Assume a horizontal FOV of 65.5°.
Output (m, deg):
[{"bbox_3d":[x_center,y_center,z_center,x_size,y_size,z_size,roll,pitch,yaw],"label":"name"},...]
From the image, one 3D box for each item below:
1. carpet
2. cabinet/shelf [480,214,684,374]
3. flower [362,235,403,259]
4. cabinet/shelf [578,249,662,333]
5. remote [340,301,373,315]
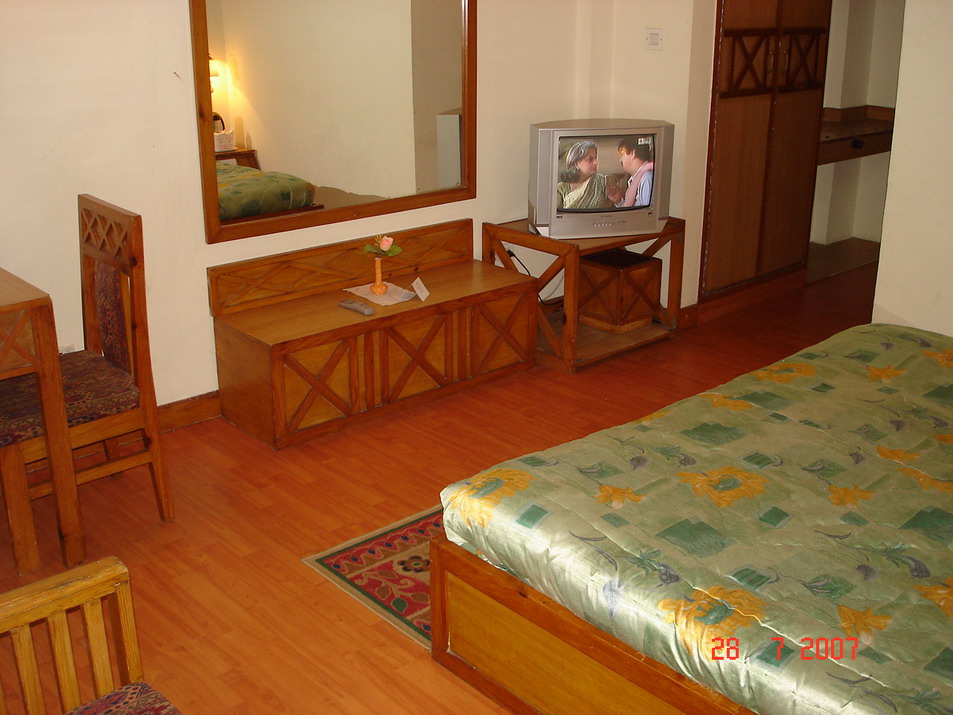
[{"bbox_3d":[-0.350,0.876,3.052,0.443,0.006,0.482,-12,24,-38],"label":"carpet"},{"bbox_3d":[0.714,-0.592,5.052,1.522,0.893,1.042,-18,35,-30],"label":"cabinet/shelf"},{"bbox_3d":[-0.545,-0.645,4.297,0.175,0.069,0.158,12,25,24],"label":"flower"},{"bbox_3d":[0.992,-0.477,5.299,0.583,0.504,0.563,-19,28,-36],"label":"cabinet/shelf"},{"bbox_3d":[-0.645,-0.281,4.039,0.159,0.035,0.096,17,30,27],"label":"remote"}]
